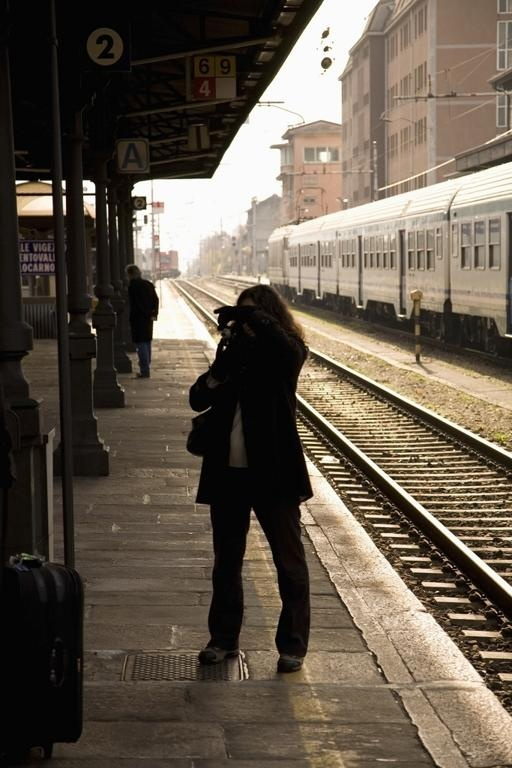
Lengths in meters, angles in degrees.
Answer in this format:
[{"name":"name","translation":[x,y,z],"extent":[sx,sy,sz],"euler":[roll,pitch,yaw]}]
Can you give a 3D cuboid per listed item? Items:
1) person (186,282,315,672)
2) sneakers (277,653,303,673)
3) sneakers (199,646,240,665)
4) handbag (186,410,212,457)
[{"name":"person","translation":[-0.025,0.366,3.392],"extent":[0.516,1.590,0.318],"euler":[1,1,4]},{"name":"sneakers","translation":[0.135,1.124,3.272],"extent":[0.045,0.062,0.125],"euler":[2,4,20]},{"name":"sneakers","translation":[-0.152,1.133,3.428],"extent":[0.179,0.078,0.061],"euler":[12,-12,-43]},{"name":"handbag","translation":[-0.210,0.191,3.349],"extent":[0.046,0.178,0.125],"euler":[16,-31,-20]}]
